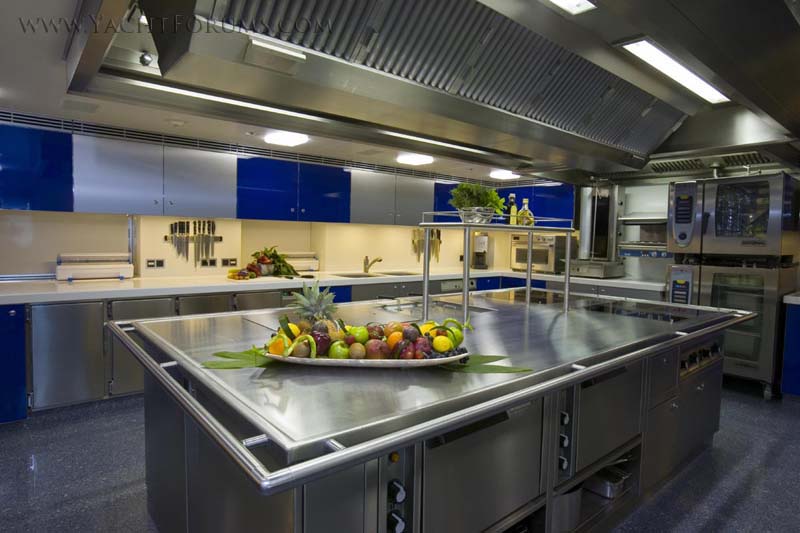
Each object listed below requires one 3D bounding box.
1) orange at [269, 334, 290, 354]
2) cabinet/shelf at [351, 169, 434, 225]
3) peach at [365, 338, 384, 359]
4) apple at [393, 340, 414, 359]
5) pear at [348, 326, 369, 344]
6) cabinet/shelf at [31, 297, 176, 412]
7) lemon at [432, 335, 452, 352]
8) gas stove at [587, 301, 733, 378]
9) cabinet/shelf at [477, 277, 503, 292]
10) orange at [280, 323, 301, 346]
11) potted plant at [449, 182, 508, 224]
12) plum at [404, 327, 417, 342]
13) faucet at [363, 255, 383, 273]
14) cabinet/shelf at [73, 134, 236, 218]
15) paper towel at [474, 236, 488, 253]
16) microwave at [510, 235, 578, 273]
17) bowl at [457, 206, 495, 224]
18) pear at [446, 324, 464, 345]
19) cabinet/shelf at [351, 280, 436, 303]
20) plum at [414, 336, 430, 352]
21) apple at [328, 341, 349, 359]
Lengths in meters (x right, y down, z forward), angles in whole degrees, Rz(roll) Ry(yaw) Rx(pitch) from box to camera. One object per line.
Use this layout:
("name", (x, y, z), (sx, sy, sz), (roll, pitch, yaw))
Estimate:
("orange", (-0.554, 0.358, 2.263), (0.080, 0.052, 0.094), (-9, 19, -22))
("cabinet/shelf", (-0.209, -0.825, 6.317), (1.385, 0.649, 0.464), (-1, 5, -38))
("peach", (-0.111, 0.385, 2.302), (0.079, 0.076, 0.079), (-1, -1, -35))
("apple", (0.019, 0.383, 2.258), (0.063, 0.036, 0.081), (2, 3, 10))
("pear", (-0.205, 0.323, 2.349), (0.075, 0.077, 0.074), (-12, 5, -32))
("cabinet/shelf", (-2.601, 0.704, 4.336), (1.110, 0.895, 0.378), (-1, 7, -33))
("lemon", (0.197, 0.366, 2.313), (0.077, 0.070, 0.073), (-1, 3, 10))
("gas stove", (1.877, 0.360, 3.344), (0.678, 0.202, 0.613), (-8, 10, -44))
("cabinet/shelf", (1.202, 0.235, 6.660), (0.519, 0.168, 0.111), (-10, 17, -43))
("orange", (-0.510, 0.315, 2.283), (0.072, 0.094, 0.074), (-12, -8, 37))
("potted plant", (0.493, -0.396, 3.229), (0.325, 0.244, 0.281), (2, 11, 9))
("plum", (0.050, 0.318, 2.294), (0.056, 0.054, 0.055), (5, 13, 26))
("faucet", (-0.356, -0.040, 6.389), (0.153, 0.213, 0.382), (6, 13, 23))
("cabinet/shelf", (-2.406, -0.845, 4.818), (1.482, 0.685, 0.476), (-4, 16, -42))
("paper towel", (1.176, -0.316, 7.161), (0.180, 0.262, 0.189), (4, 13, 14))
("microwave", (1.987, -0.161, 6.910), (0.518, 0.492, 0.759), (-1, 5, -40))
("bowl", (0.488, -0.328, 3.152), (0.221, 0.100, 0.112), (3, 12, 9))
("pear", (0.270, 0.333, 2.439), (0.086, 0.067, 0.111), (9, 7, 37))
("cabinet/shelf", (-0.172, 0.287, 5.602), (0.916, 0.179, 0.202), (2, 0, -36))
("plum", (0.109, 0.358, 2.281), (0.060, 0.030, 0.059), (-3, 8, -25))
("apple", (-0.276, 0.382, 2.303), (0.078, 0.091, 0.077), (18, 16, 2))
